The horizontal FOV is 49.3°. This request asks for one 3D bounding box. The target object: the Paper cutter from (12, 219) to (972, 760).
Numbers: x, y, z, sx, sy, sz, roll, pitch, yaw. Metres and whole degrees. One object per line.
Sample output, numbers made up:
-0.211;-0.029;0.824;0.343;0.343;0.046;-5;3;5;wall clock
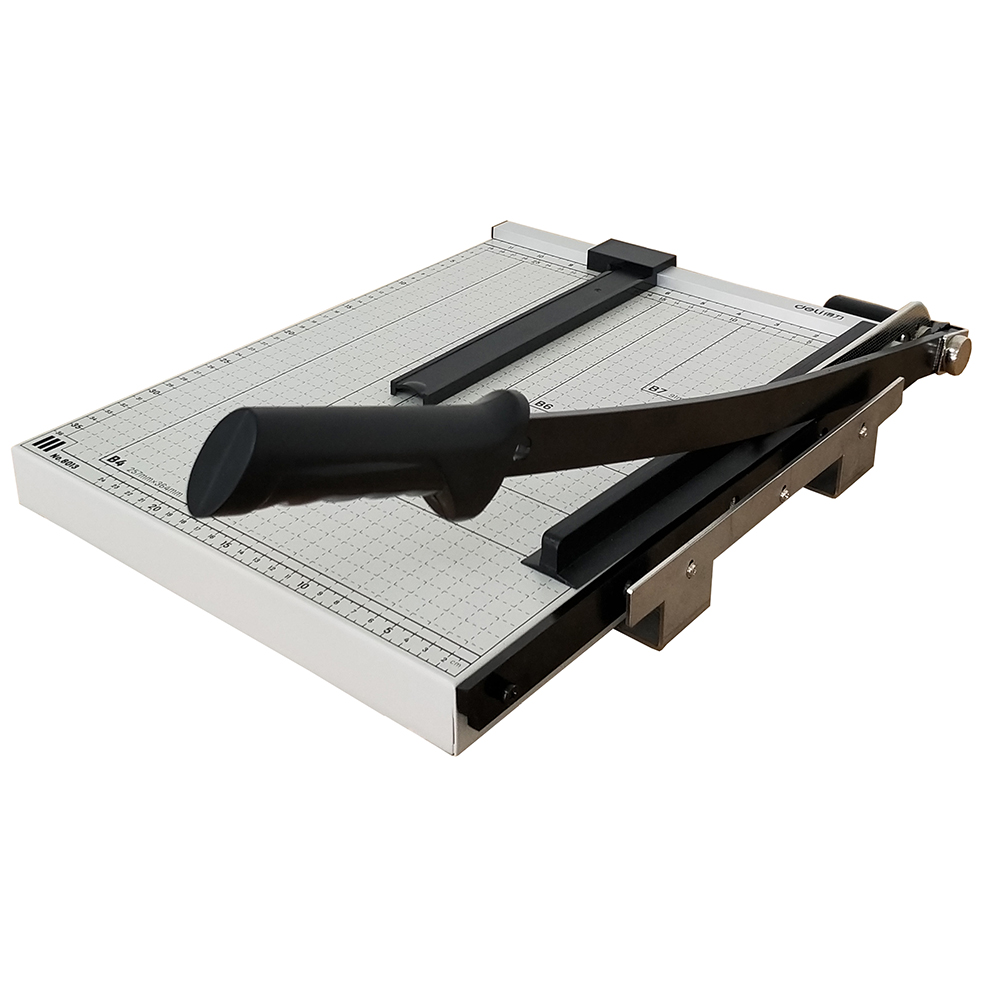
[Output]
0.263;-0.180;2.811;1.546;1.998;0.576;21;-55;34;Paper cutter
